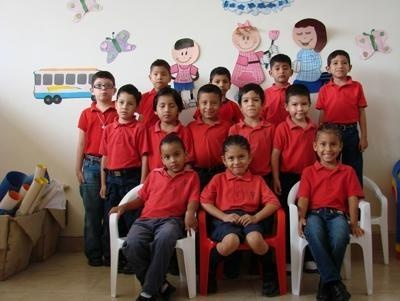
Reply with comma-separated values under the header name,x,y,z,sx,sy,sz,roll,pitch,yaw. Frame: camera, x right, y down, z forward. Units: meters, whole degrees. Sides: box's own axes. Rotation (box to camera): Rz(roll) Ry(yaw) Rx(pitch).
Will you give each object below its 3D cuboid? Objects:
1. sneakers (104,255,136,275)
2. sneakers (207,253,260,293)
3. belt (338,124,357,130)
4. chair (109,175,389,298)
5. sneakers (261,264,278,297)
name,x,y,z,sx,sy,sz,roll,pitch,yaw
sneakers,-0.548,0.829,2.705,0.281,0.120,0.096,17,-16,-14
sneakers,0.240,0.784,2.603,0.335,0.220,0.271,2,-10,-19
belt,1.147,-0.189,2.875,0.074,0.029,0.075,1,0,6
chair,0.425,0.558,2.517,2.016,0.764,0.762,-3,-1,-16
sneakers,0.444,0.821,2.335,0.075,0.208,0.086,-5,-38,22
